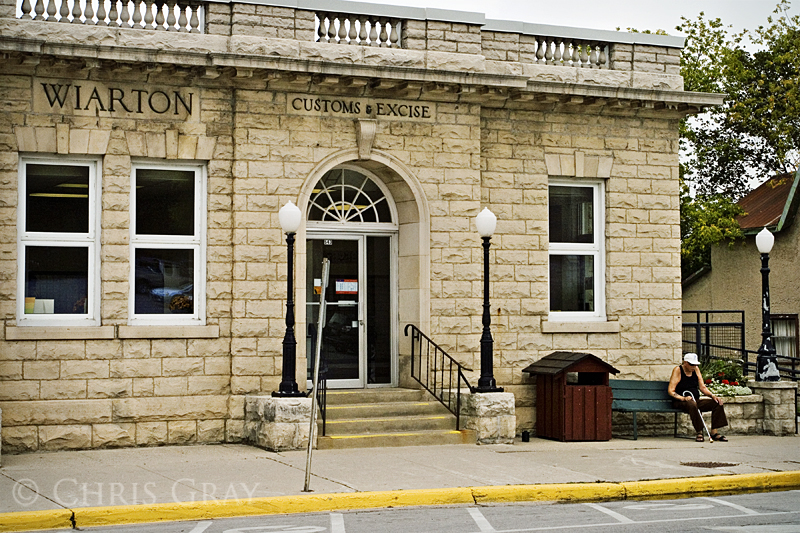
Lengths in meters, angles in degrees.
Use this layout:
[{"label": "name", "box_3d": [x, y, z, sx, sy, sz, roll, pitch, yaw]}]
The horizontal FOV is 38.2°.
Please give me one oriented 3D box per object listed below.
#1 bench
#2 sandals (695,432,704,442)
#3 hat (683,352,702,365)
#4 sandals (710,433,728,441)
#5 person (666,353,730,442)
[{"label": "bench", "box_3d": [5.452, 3.122, 25.539, 2.075, 1.063, 0.769, -9, 7, 40]}, {"label": "sandals", "box_3d": [6.486, 3.716, 25.164, 0.194, 0.142, 0.532, -2, -5, 10]}, {"label": "hat", "box_3d": [6.328, 2.024, 25.354, 0.360, 0.208, 0.435, 1, -4, -9]}, {"label": "sandals", "box_3d": [6.835, 3.706, 25.082, 0.164, 0.141, 0.444, 1, -4, -42]}, {"label": "person", "box_3d": [6.443, 2.864, 25.306, 1.233, 1.898, 0.644, -1, -7, 10]}]
